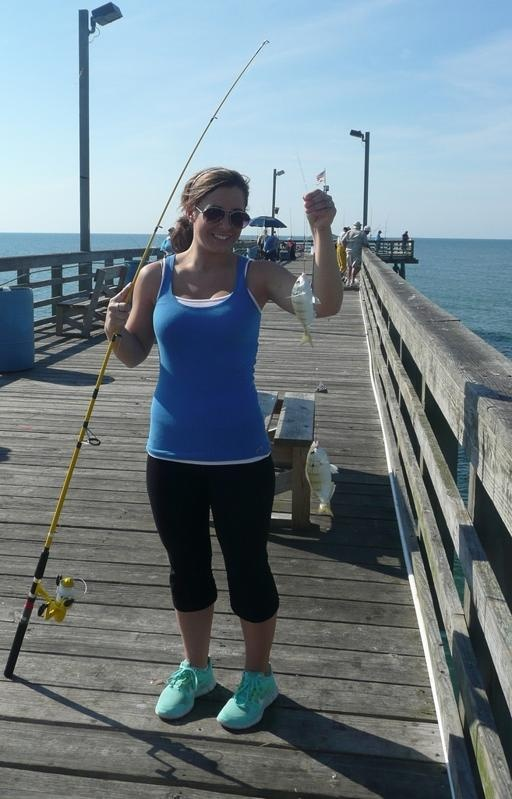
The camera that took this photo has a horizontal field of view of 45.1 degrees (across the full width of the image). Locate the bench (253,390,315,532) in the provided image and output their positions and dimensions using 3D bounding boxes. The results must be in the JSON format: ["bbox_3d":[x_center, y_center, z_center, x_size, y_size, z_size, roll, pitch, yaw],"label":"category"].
[{"bbox_3d":[0.180,0.301,3.190,0.436,0.599,0.649,2,13,1],"label":"bench"}]

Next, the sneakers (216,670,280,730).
[{"bbox_3d":[-0.020,0.810,1.644,0.110,0.092,0.255,5,11,27],"label":"sneakers"}]

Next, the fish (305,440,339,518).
[{"bbox_3d":[0.289,0.371,2.733,0.164,0.418,0.108,-2,6,13],"label":"fish"}]

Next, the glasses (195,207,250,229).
[{"bbox_3d":[-0.067,-0.441,1.504,0.143,0.048,0.113,-4,12,-23],"label":"glasses"}]

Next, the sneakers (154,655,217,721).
[{"bbox_3d":[-0.190,0.783,1.689,0.134,0.114,0.211,-1,9,3],"label":"sneakers"}]

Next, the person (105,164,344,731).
[{"bbox_3d":[-0.142,0.136,1.612,0.536,1.427,0.325,10,14,44],"label":"person"}]
